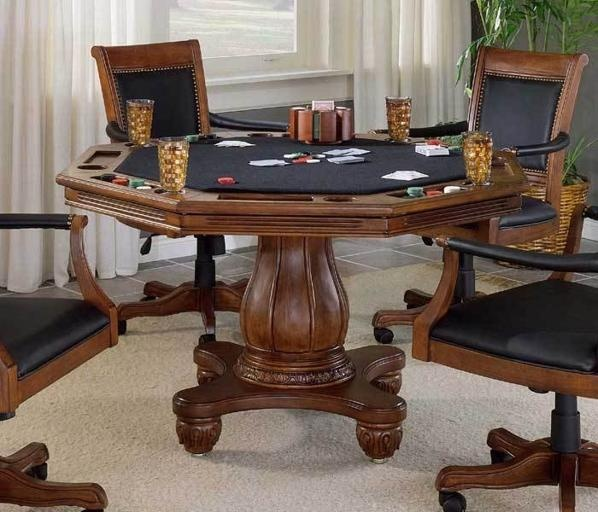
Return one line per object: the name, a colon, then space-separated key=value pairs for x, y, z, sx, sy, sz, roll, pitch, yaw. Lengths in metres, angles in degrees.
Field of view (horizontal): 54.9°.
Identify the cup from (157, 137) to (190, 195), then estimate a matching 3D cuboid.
cup: x=-0.308 y=-0.228 z=1.425 sx=0.081 sy=0.126 sz=0.180 roll=-6 pitch=16 yaw=-11
